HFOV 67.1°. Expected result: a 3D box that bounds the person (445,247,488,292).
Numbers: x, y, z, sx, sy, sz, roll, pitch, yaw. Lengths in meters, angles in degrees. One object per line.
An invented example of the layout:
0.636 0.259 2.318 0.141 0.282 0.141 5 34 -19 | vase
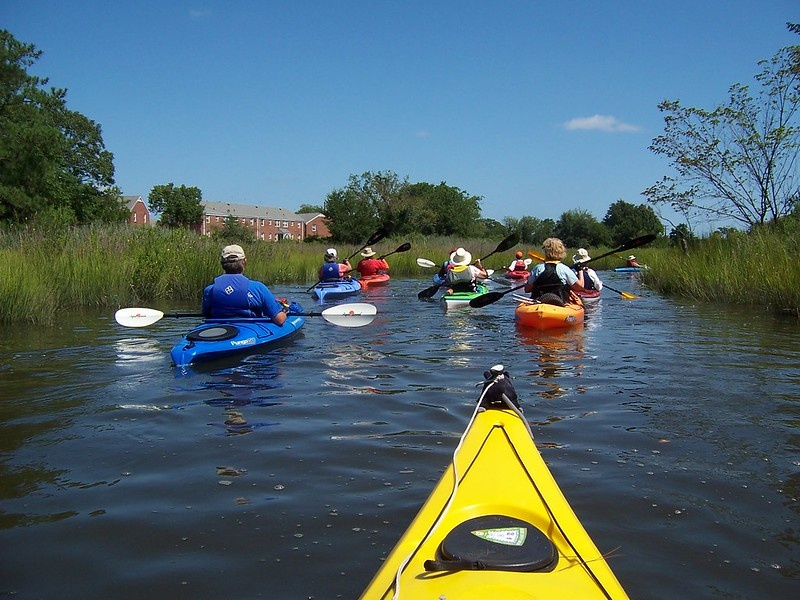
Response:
1.464 -0.688 13.629 0.624 0.586 1.328 1 18 12 | person

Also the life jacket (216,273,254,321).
-2.194 -0.017 7.928 0.561 0.685 0.379 0 19 -6 | life jacket

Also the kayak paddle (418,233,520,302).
1.966 -1.063 15.789 0.160 0.303 3.029 -21 -2 -41 | kayak paddle

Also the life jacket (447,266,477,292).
1.370 -0.430 13.207 0.574 0.534 0.300 1 -3 15 | life jacket

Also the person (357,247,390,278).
-0.855 -1.059 18.996 0.737 0.725 1.511 0 13 7 | person

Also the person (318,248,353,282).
-1.768 -0.902 16.039 0.607 0.873 1.689 -1 12 0 | person

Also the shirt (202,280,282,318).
-2.205 0.028 8.593 1.076 0.546 1.391 1 0 1 | shirt

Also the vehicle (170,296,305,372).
-2.109 0.498 8.047 0.656 0.487 2.240 6 14 28 | vehicle
